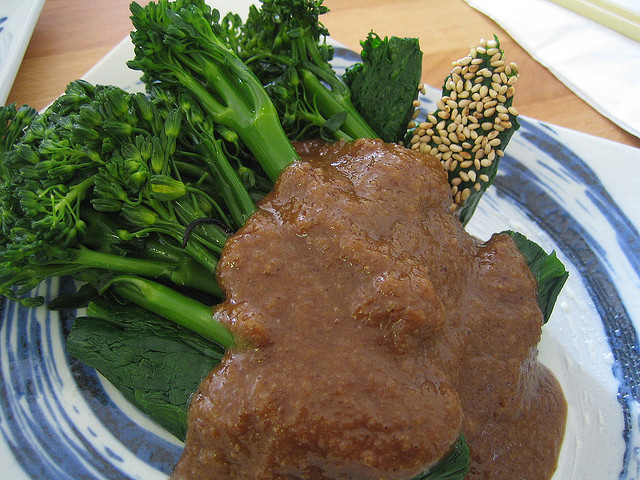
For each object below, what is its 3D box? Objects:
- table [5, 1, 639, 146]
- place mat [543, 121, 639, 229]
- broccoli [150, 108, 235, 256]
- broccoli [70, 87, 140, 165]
[{"bbox_3d":[-0.069,-0.711,2.923,0.891,0.084,1.008,24,30,2],"label":"table"},{"bbox_3d":[1.324,-0.348,2.992,0.220,0.111,0.580,-34,63,0],"label":"place mat"},{"bbox_3d":[-0.482,-0.173,2.484,0.205,0.170,0.626,-29,79,-4],"label":"broccoli"},{"bbox_3d":[-0.831,-0.414,2.546,0.274,0.272,0.131,-26,16,-22],"label":"broccoli"}]
